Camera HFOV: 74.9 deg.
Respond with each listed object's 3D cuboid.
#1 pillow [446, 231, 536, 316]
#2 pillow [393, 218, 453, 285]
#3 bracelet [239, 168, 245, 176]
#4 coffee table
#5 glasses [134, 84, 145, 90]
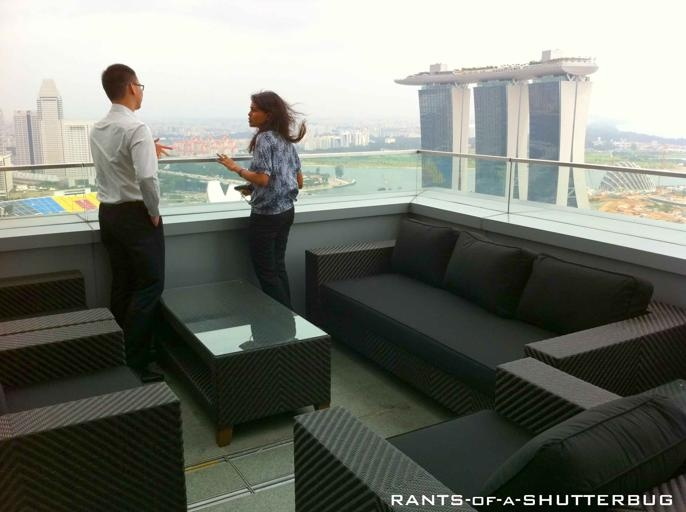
[{"bbox_3d":[1.086,0.152,3.325,0.201,0.373,0.564,0,14,-28],"label":"pillow"},{"bbox_3d":[0.684,-0.016,3.905,0.192,0.371,0.516,-8,19,-31],"label":"pillow"},{"bbox_3d":[-0.811,-0.683,3.616,0.049,0.075,0.067,-6,14,-38],"label":"bracelet"},{"bbox_3d":[-0.587,0.352,2.877,0.791,0.540,1.429,-2,10,-29],"label":"coffee table"},{"bbox_3d":[-1.473,-1.238,3.259,0.061,0.018,0.062,6,15,-14],"label":"glasses"}]
